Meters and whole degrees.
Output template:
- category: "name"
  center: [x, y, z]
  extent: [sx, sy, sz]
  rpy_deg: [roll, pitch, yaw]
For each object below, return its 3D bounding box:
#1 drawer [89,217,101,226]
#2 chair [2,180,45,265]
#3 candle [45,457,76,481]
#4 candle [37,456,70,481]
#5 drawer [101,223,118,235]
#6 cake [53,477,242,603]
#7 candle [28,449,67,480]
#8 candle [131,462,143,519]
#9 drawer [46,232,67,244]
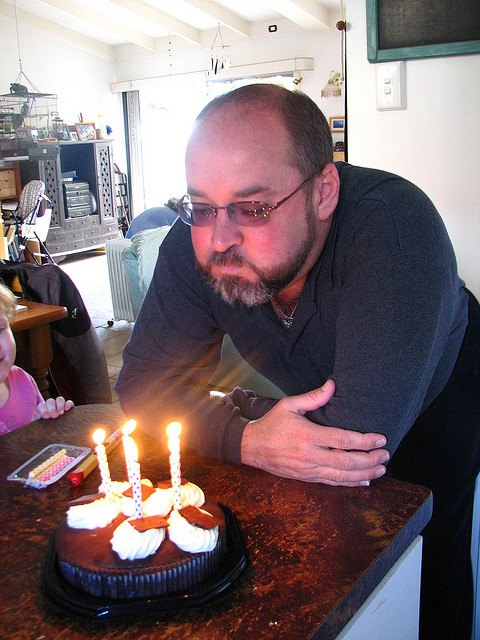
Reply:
- category: "drawer"
  center: [-2.718, -1.826, 8.941]
  extent: [0.079, 0.141, 0.162]
  rpy_deg: [3, 10, 39]
- category: "chair"
  center: [-3.125, -1.448, 6.957]
  extent: [0.581, 1.284, 1.403]
  rpy_deg: [-6, 10, -23]
- category: "candle"
  center: [-0.307, 0.256, 0.823]
  extent: [0.008, 0.009, 0.056]
  rpy_deg: [-32, 6, 17]
- category: "candle"
  center: [-0.325, 0.254, 0.819]
  extent: [0.010, 0.010, 0.057]
  rpy_deg: [-15, 14, 15]
- category: "drawer"
  center: [-2.526, -1.736, 9.258]
  extent: [0.206, 0.201, 0.327]
  rpy_deg: [5, 27, 29]
- category: "cake"
  center: [-0.122, 0.270, 0.623]
  extent: [0.194, 0.075, 0.217]
  rpy_deg: [7, 2, -4]
- category: "candle"
  center: [-0.338, 0.254, 0.836]
  extent: [0.012, 0.013, 0.071]
  rpy_deg: [-18, 10, 16]
- category: "candle"
  center: [-0.132, 0.213, 0.615]
  extent: [0.011, 0.082, 0.055]
  rpy_deg: [-4, 9, -13]
- category: "drawer"
  center: [-3.175, -1.394, 8.264]
  extent: [0.169, 0.191, 0.310]
  rpy_deg: [10, 20, 32]
